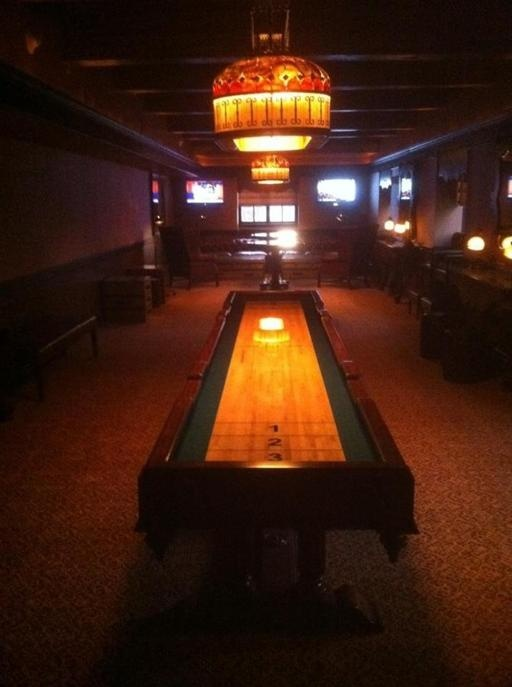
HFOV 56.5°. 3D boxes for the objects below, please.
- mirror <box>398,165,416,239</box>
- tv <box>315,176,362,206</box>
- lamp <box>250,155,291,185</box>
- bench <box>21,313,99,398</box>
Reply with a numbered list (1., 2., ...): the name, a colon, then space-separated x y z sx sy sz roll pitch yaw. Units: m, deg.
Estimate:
1. mirror: 3.550 -3.342 11.256 0.259 1.707 1.421 1 8 13
2. tv: 2.695 -5.045 15.747 1.341 0.860 0.234 0 8 2
3. lamp: 0.202 -2.658 7.120 0.505 0.428 0.798 0 8 7
4. bench: -2.296 -0.082 5.552 0.915 0.532 1.315 -27 27 -27
